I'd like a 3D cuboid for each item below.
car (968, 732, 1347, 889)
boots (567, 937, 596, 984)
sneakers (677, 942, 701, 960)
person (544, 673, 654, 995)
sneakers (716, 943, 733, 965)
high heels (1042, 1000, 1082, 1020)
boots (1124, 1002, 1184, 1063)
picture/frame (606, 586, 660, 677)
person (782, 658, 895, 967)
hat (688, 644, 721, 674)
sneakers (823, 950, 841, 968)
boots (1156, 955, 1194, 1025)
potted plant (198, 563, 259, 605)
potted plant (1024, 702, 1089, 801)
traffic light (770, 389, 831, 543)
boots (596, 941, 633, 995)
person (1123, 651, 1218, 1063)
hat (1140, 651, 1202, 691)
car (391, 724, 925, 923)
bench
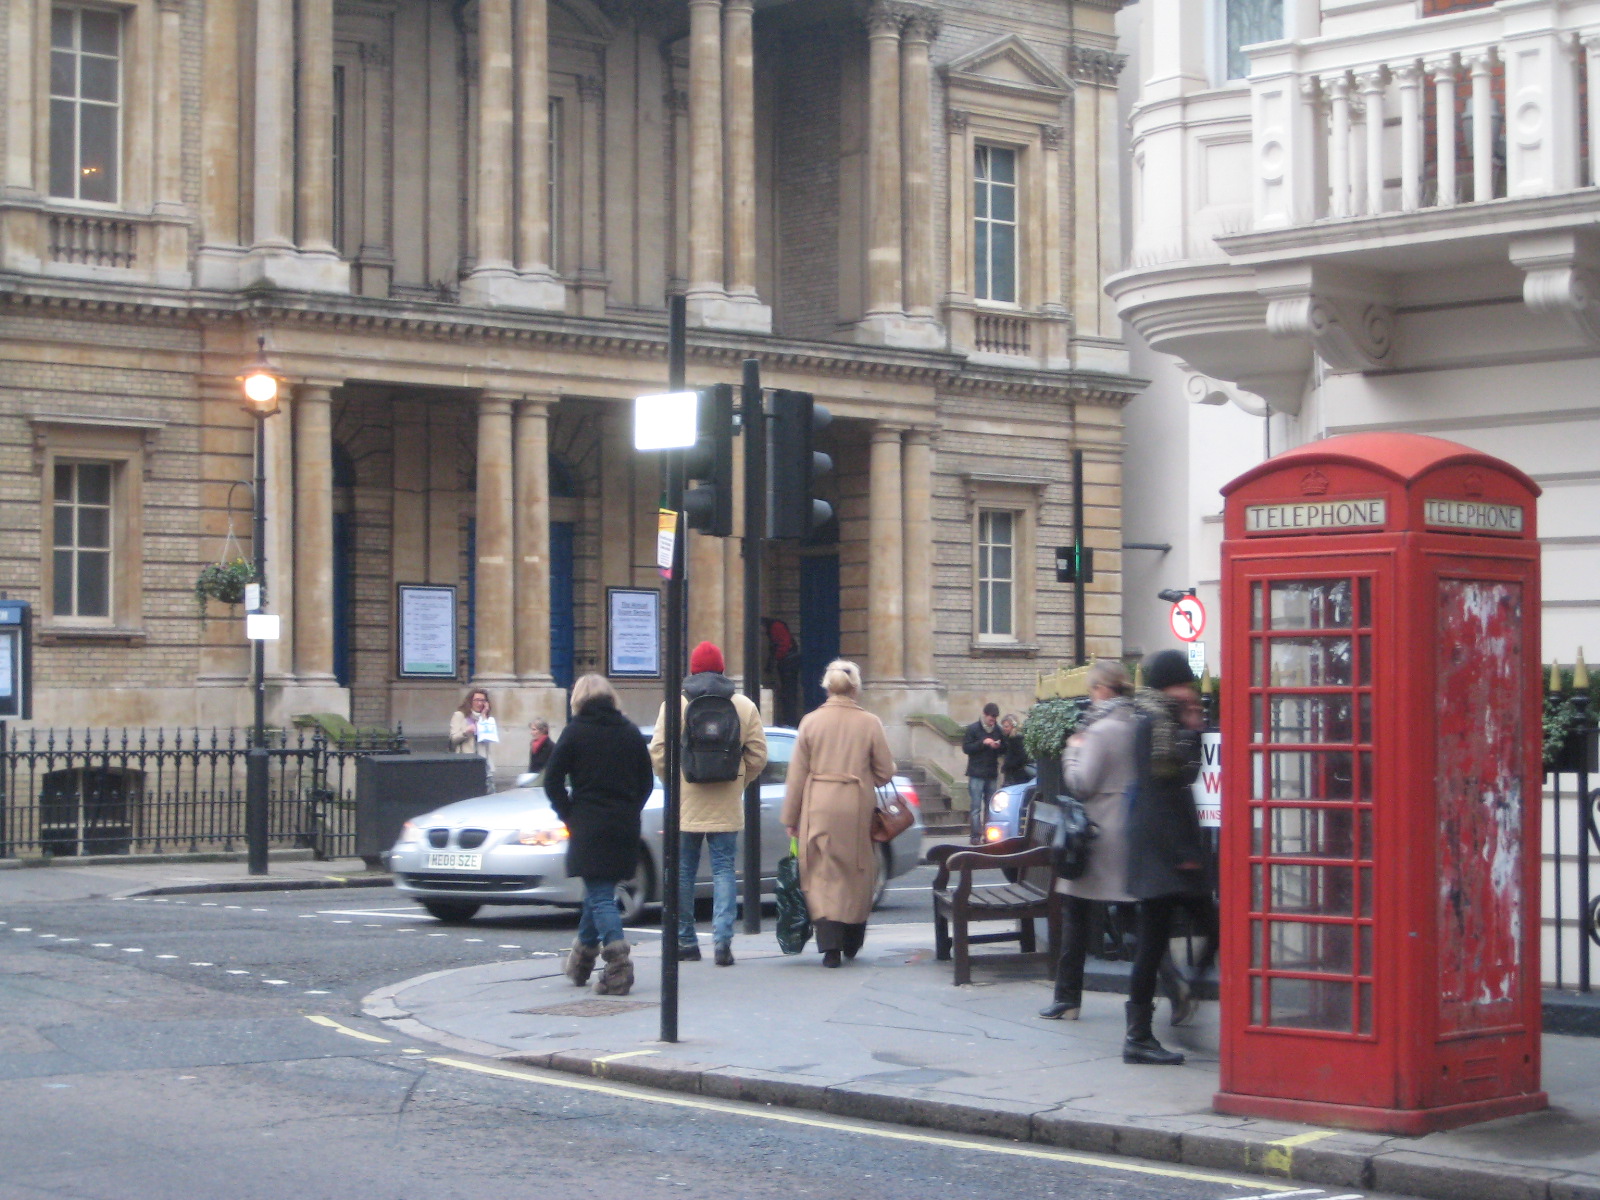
[{"bbox_3d":[2.415,1.547,23.822,1.771,0.937,1.082,1,-3,2],"label":"car"},{"bbox_3d":[-1.661,2.724,24.326,0.173,0.364,0.353,6,9,-4],"label":"boots"},{"bbox_3d":[-0.837,2.784,25.446,0.294,0.131,0.101,4,1,37],"label":"sneakers"},{"bbox_3d":[-1.524,1.749,24.122,0.774,2.394,0.625,0,-4,-3],"label":"person"},{"bbox_3d":[-0.601,2.779,25.171,0.137,0.168,0.295,0,-5,3],"label":"sneakers"},{"bbox_3d":[1.853,2.901,22.807,0.228,0.151,0.123,5,-3,3],"label":"high heels"},{"bbox_3d":[2.336,2.882,21.382,0.402,0.398,0.293,0,-4,7],"label":"boots"},{"bbox_3d":[-2.514,0.469,47.398,1.191,1.732,0.213,2,-5,-37],"label":"picture/frame"},{"bbox_3d":[0.285,1.667,25.056,0.814,2.359,0.410,0,-4,-1],"label":"person"},{"bbox_3d":[-0.772,0.463,25.372,0.189,0.234,0.260,7,10,40],"label":"hat"},{"bbox_3d":[0.243,2.800,25.088,0.144,0.109,0.300,0,-5,5],"label":"sneakers"},{"bbox_3d":[2.644,2.766,22.500,0.190,0.266,0.647,-23,-37,-19],"label":"boots"},{"bbox_3d":[-7.058,-0.215,39.772,0.563,0.517,0.591,-1,0,40],"label":"potted plant"},{"bbox_3d":[1.933,1.167,24.973,0.611,0.926,0.709,0,-1,-7],"label":"potted plant"},{"bbox_3d":[-0.030,-1.069,25.269,0.481,1.145,0.608,0,-4,-1],"label":"traffic light"},{"bbox_3d":[-1.395,2.749,24.009,0.267,0.384,0.338,1,-4,-7],"label":"boots"},{"bbox_3d":[2.502,1.740,21.938,0.528,2.757,1.319,0,-4,10],"label":"person"},{"bbox_3d":[2.475,0.444,21.599,0.298,0.306,0.237,-13,16,-41],"label":"hat"},{"bbox_3d":[-1.272,2.295,29.182,4.458,1.531,2.001,5,-5,-40],"label":"car"},{"bbox_3d":[1.483,2.206,24.872,0.985,1.420,1.093,-2,2,-1],"label":"bench"}]
